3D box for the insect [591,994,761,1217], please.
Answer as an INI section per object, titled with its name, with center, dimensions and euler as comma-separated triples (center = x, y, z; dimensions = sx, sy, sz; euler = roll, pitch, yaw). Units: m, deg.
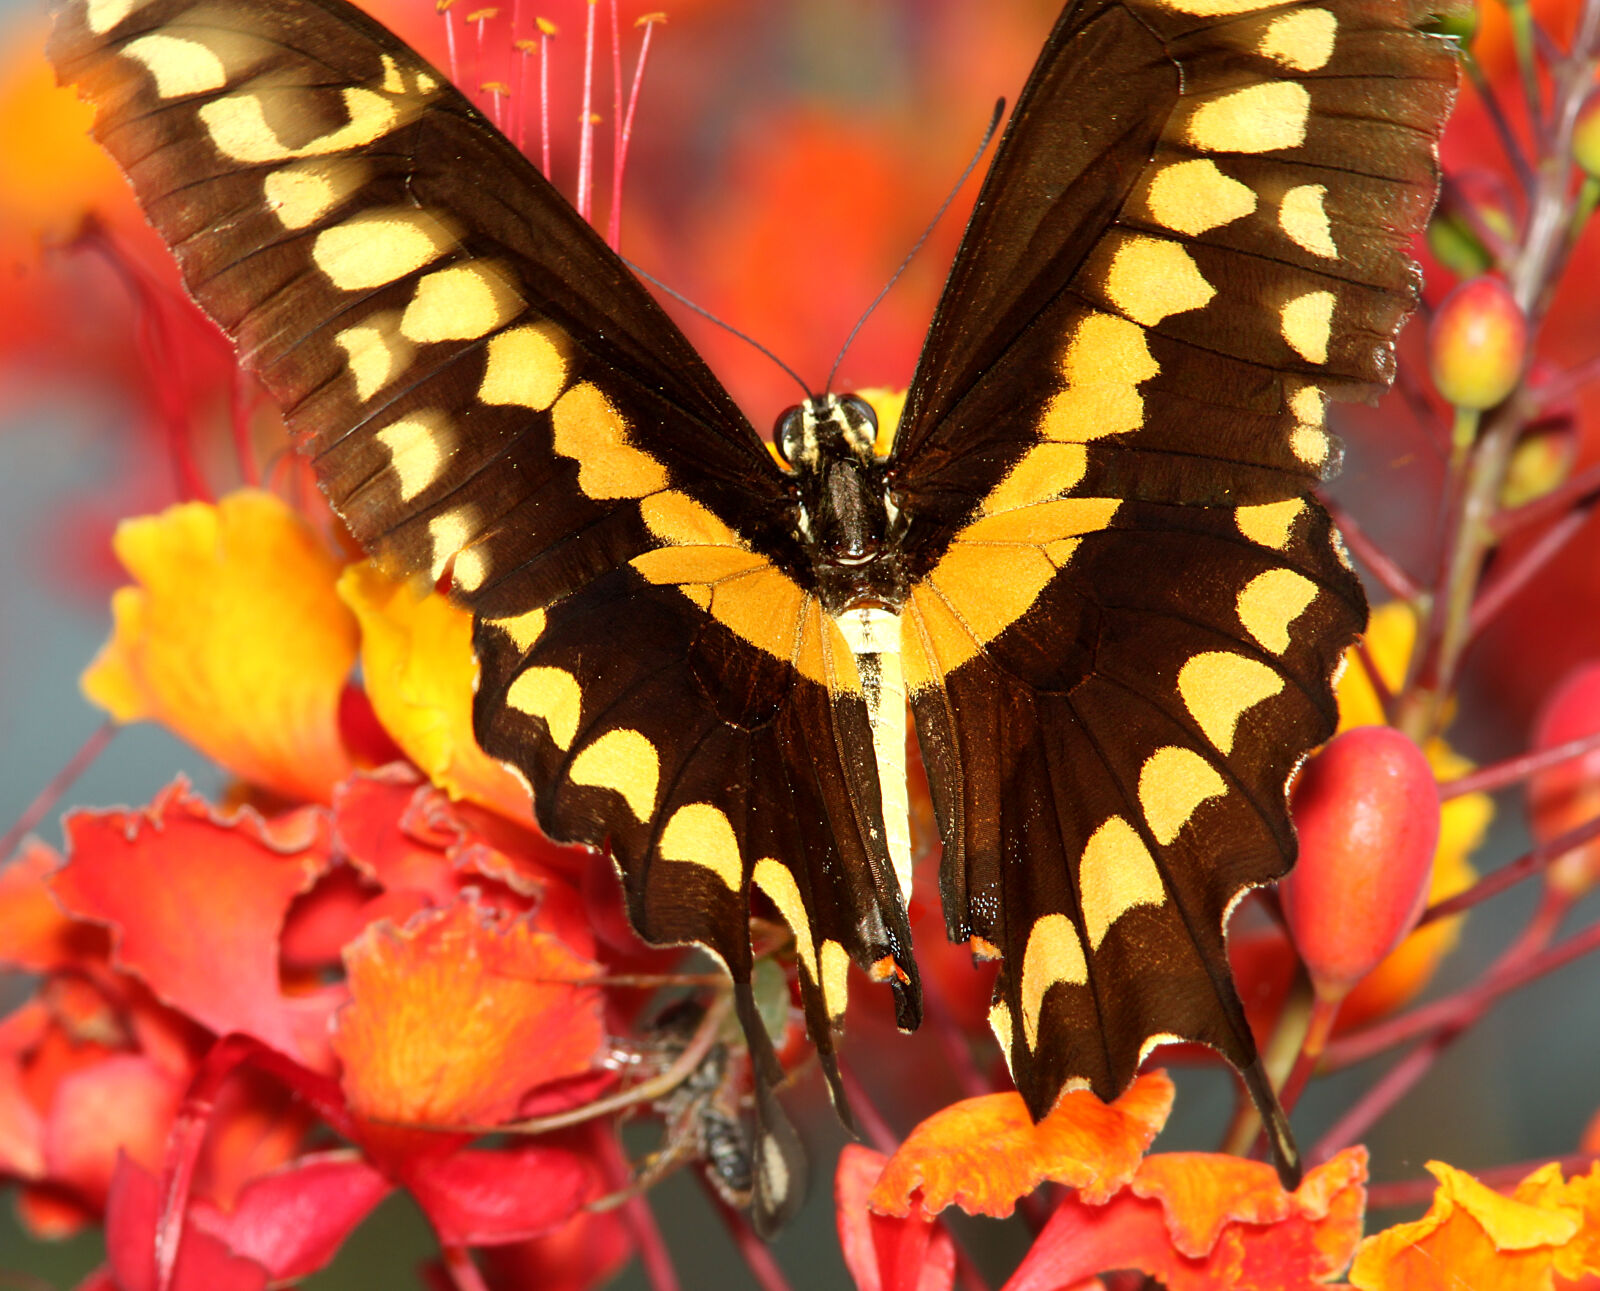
[insect]
center = -0.094, 0.288, 1.453
dimensions = 0.055, 0.114, 0.111
euler = -23, -13, 39
